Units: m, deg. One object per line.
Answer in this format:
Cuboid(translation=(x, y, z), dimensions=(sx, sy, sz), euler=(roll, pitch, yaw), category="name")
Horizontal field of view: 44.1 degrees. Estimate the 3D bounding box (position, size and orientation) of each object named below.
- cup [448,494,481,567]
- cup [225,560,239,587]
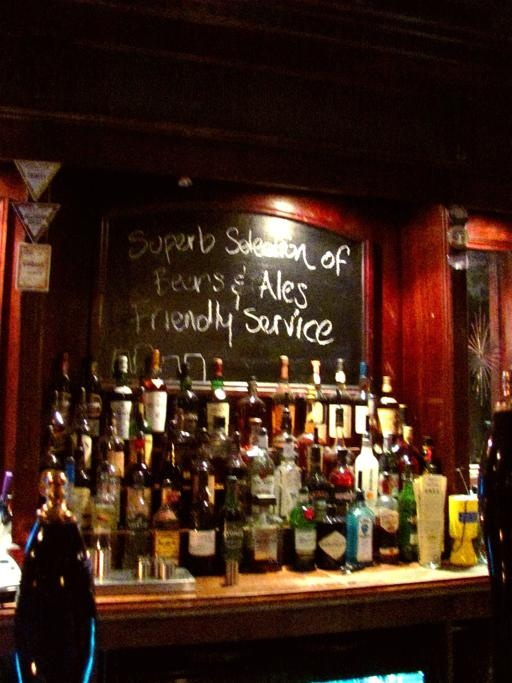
Cuboid(translation=(0.682, 0.615, 2.070), dimensions=(0.100, 0.213, 0.169), euler=(-1, -5, 19), category="cup")
Cuboid(translation=(-0.069, 0.634, 1.742), dimensions=(0.037, 0.058, 0.068), euler=(1, -5, 1), category="cup")
